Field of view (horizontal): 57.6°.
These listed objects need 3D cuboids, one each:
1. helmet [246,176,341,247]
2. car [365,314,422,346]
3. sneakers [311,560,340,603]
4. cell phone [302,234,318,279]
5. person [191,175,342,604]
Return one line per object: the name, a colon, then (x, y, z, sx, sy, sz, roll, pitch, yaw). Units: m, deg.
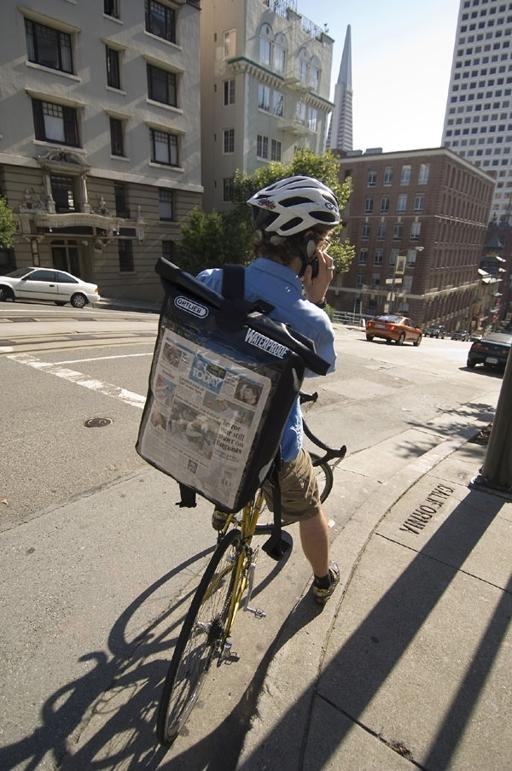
helmet: (0.166, -0.748, 1.901, 0.343, 0.215, 0.252, -20, 39, -19)
car: (6.506, -2.719, 22.823, 2.544, 1.442, 3.683, 10, 15, 34)
sneakers: (0.379, 1.050, 2.553, 0.087, 0.110, 0.243, 1, 28, 22)
cell phone: (0.203, -0.545, 1.951, 0.043, 0.131, 0.092, -8, 50, -11)
person: (0.088, 0.112, 2.242, 0.752, 2.035, 0.632, 15, 29, 30)
